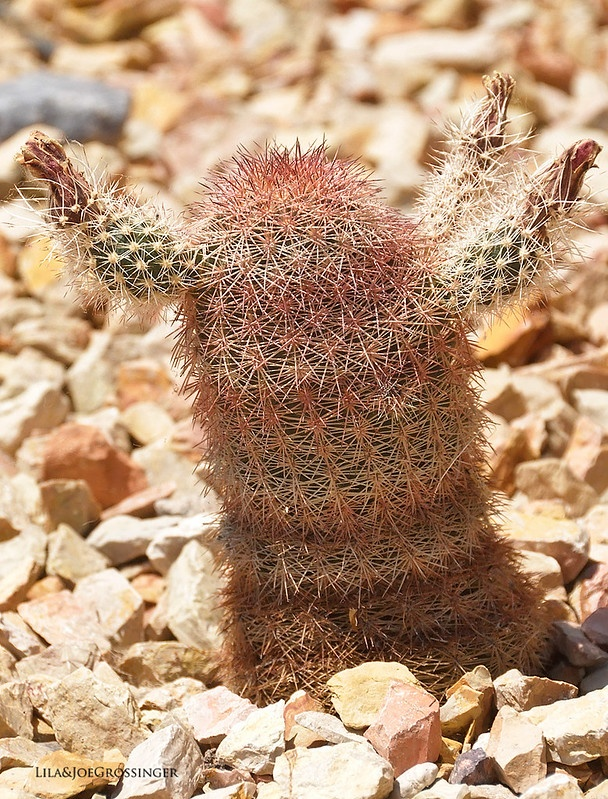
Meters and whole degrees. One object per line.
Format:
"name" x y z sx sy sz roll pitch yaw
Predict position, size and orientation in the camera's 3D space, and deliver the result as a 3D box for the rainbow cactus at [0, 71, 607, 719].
"rainbow cactus" 0.034 -0.044 2.125 1.119 1.393 0.618 2 -17 0
